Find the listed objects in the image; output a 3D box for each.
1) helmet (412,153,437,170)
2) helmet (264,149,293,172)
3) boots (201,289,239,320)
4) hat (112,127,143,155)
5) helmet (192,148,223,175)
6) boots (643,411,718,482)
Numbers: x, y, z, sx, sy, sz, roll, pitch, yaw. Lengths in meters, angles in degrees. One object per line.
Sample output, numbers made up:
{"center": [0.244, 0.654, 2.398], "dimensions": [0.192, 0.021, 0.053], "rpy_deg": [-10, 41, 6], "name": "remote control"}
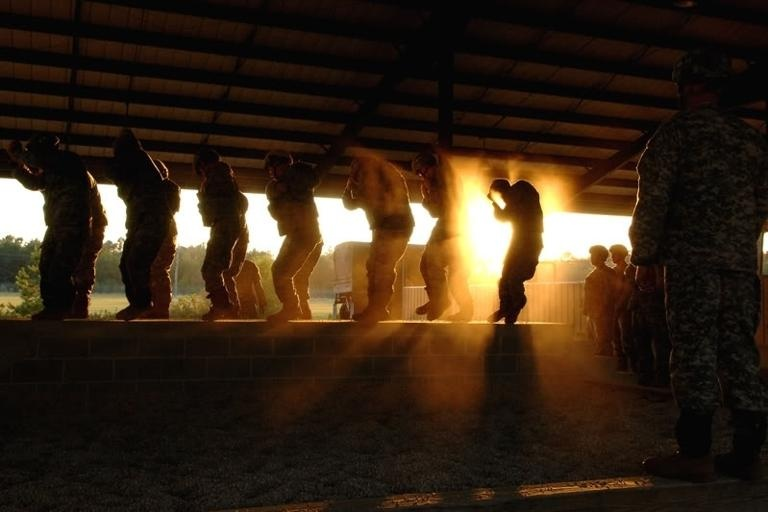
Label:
{"center": [0.571, -1.357, 11.305], "dimensions": [0.296, 0.211, 0.212], "rpy_deg": [6, -7, -4], "name": "helmet"}
{"center": [-1.409, -1.319, 10.951], "dimensions": [0.363, 0.266, 0.258], "rpy_deg": [7, 8, 9], "name": "helmet"}
{"center": [-2.122, 0.627, 10.339], "dimensions": [0.366, 0.442, 0.632], "rpy_deg": [6, 8, 0], "name": "boots"}
{"center": [-3.262, -1.468, 10.187], "dimensions": [0.266, 0.323, 0.302], "rpy_deg": [12, 10, 38], "name": "hat"}
{"center": [-2.373, -1.320, 10.876], "dimensions": [0.394, 0.359, 0.295], "rpy_deg": [1, 5, 4], "name": "helmet"}
{"center": [2.713, 1.777, 7.328], "dimensions": [0.722, 0.667, 0.343], "rpy_deg": [-8, -24, 38], "name": "boots"}
